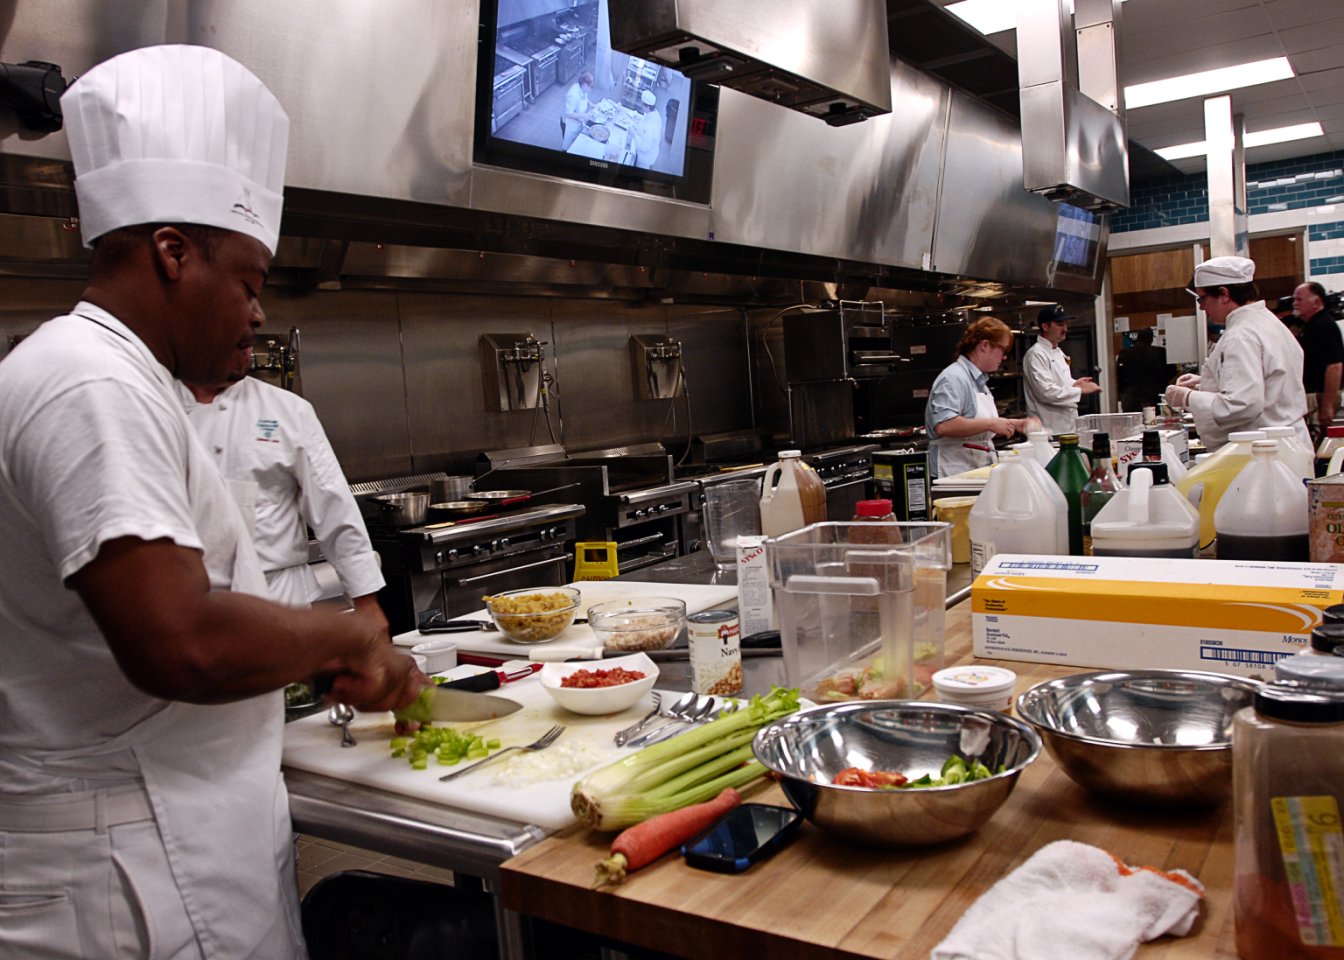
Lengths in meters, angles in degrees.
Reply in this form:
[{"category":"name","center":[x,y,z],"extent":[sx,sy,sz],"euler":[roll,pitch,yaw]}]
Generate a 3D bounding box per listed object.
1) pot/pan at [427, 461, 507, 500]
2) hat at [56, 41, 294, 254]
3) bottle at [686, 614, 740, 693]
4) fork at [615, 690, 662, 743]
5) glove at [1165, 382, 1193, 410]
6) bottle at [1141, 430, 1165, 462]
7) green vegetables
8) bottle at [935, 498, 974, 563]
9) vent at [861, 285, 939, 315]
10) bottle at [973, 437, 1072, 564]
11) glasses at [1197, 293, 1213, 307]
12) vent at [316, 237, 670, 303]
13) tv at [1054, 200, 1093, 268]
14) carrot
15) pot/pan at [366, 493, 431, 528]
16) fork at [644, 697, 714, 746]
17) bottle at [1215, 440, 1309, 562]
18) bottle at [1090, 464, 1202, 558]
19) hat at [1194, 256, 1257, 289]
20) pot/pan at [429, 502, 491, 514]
[{"category":"pot/pan","center":[-1.096,0.016,4.789],"extent":[0.396,0.151,0.160],"euler":[5,2,31]},{"category":"hat","center":[-0.873,-0.539,1.631],"extent":[0.380,0.317,0.414],"euler":[-3,-3,-24]},{"category":"bottle","center":[0.088,0.354,1.890],"extent":[0.142,0.153,0.143],"euler":[1,3,24]},{"category":"fork","center":[-0.066,0.443,1.677],"extent":[0.058,0.012,0.252],"euler":[13,5,12]},{"category":"glove","center":[2.820,-0.468,5.070],"extent":[0.127,0.066,0.168],"euler":[1,-9,-31]},{"category":"bottle","center":[1.162,-0.080,2.183],"extent":[0.071,0.075,0.068],"euler":[-1,1,3]},{"category":"green vegetables","center":[0.055,0.423,1.465],"extent":[0.447,0.134,0.115],"euler":[-16,20,-34]},{"category":"bottle","center":[0.864,0.160,2.759],"extent":[0.112,0.199,0.354],"euler":[-3,7,16]},{"category":"vent","center":[2.235,-1.722,8.634],"extent":[0.525,0.118,0.485],"euler":[-1,2,-34]},{"category":"bottle","center":[0.930,0.112,2.406],"extent":[0.221,0.386,0.243],"euler":[-14,17,-35]},{"category":"glasses","center":[3.176,-1.070,5.376],"extent":[0.024,0.079,0.078],"euler":[15,21,38]},{"category":"vent","center":[-1.118,-1.193,5.227],"extent":[2.071,0.153,0.283],"euler":[-2,34,7]},{"category":"tv","center":[4.558,-2.716,10.139],"extent":[0.182,0.633,1.459],"euler":[1,9,37]},{"category":"carrot","center":[0.000,0.500,1.326],"extent":[0.062,0.056,0.277],"euler":[7,13,42]},{"category":"pot/pan","center":[-1.270,0.138,4.174],"extent":[0.160,0.100,0.265],"euler":[-2,2,-26]},{"category":"fork","center":[0.009,0.428,1.620],"extent":[0.039,0.039,0.260],"euler":[2,12,15]},{"category":"bottle","center":[1.370,0.050,2.095],"extent":[0.183,0.271,0.127],"euler":[-1,8,28]},{"category":"bottle","center":[1.083,0.073,2.079],"extent":[0.222,0.228,0.226],"euler":[1,6,28]},{"category":"hat","center":[3.200,-1.188,5.222],"extent":[0.279,0.149,0.226],"euler":[5,8,45]},{"category":"pot/pan","center":[-1.031,0.142,4.362],"extent":[0.240,0.055,0.175],"euler":[-4,7,8]}]
